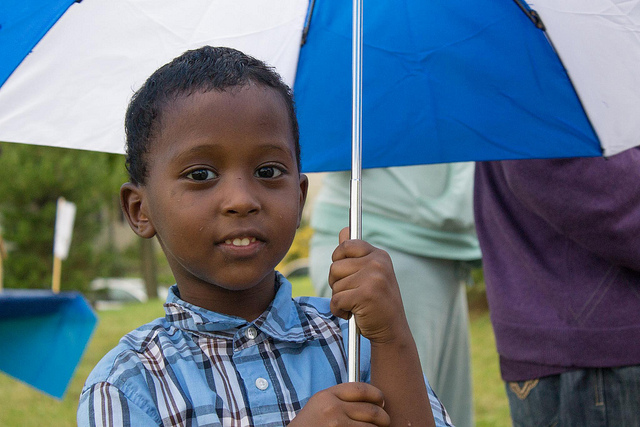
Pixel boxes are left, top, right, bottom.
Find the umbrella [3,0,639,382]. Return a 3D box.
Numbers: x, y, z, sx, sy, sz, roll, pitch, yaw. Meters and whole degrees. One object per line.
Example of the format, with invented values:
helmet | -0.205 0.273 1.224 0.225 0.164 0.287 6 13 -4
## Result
umbrella | 0.079 0.282 3.901 1.821 2.011 2.016 -2 -44 1
